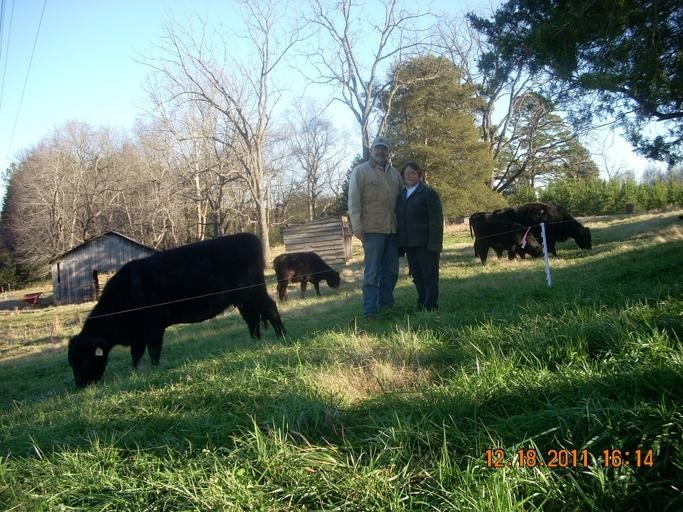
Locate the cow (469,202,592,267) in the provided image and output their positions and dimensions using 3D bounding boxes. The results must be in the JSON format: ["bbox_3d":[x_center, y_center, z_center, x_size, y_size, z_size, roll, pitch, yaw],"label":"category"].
[{"bbox_3d":[4.515,-0.617,13.868,2.743,1.107,1.982,-10,11,-14],"label":"cow"}]

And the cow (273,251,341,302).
[{"bbox_3d":[-0.818,0.532,13.874,1.943,1.218,0.535,4,-9,-39],"label":"cow"}]

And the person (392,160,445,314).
[{"bbox_3d":[1.108,-0.270,7.847,0.613,2.002,1.150,-7,10,-8],"label":"person"}]
